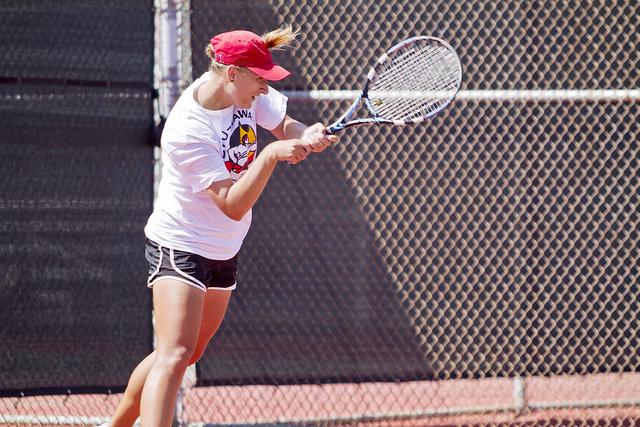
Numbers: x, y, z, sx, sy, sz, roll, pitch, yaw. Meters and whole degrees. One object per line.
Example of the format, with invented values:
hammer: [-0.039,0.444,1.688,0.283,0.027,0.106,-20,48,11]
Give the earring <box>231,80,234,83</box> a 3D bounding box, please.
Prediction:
earring: [-0.551,-0.830,6.311,0.015,0.012,0.007,7,-25,17]

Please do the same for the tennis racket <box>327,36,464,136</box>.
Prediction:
tennis racket: [0.363,-0.873,7.281,0.098,0.478,1.335,-4,-9,-28]
